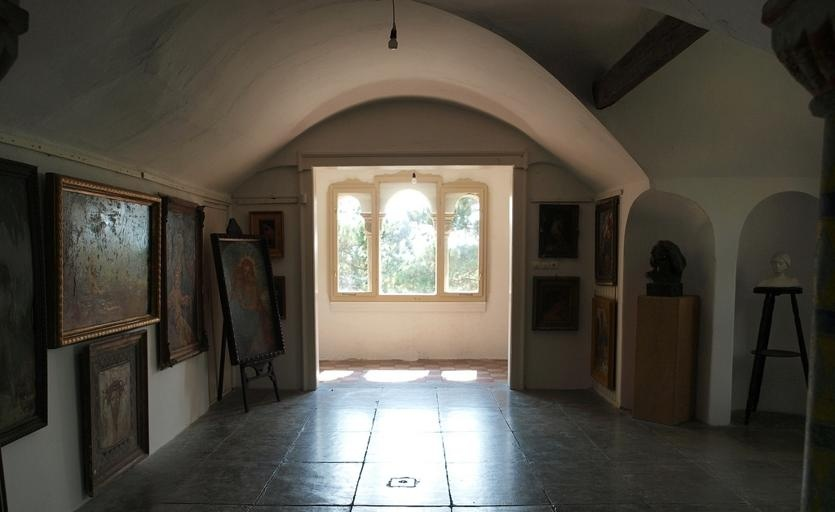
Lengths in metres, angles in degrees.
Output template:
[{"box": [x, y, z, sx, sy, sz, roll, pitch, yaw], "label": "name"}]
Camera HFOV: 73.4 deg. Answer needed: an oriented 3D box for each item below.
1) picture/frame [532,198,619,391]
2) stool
[{"box": [2.458, 0.615, 8.840, 1.421, 3.092, 0.954, 3, 8, 25], "label": "picture/frame"}, {"box": [4.945, 1.324, 7.668, 0.688, 1.890, 0.896, 5, 9, 35], "label": "stool"}]
